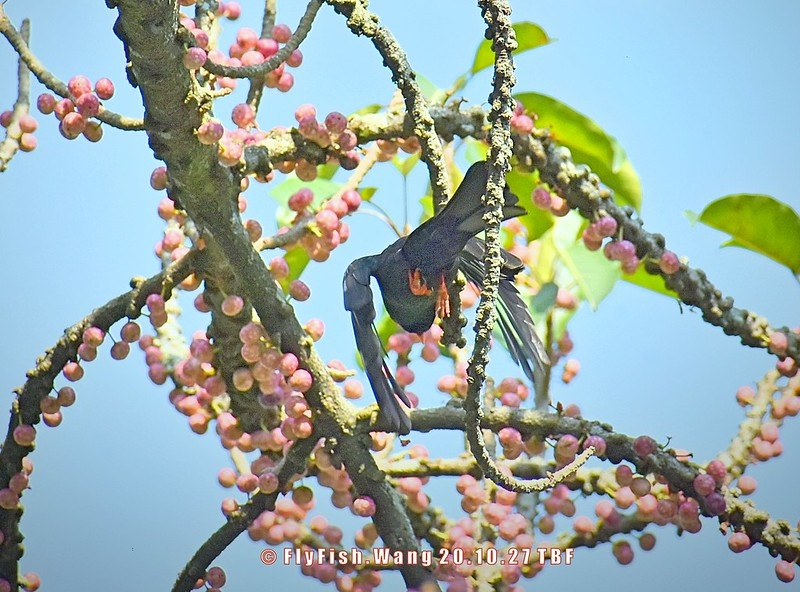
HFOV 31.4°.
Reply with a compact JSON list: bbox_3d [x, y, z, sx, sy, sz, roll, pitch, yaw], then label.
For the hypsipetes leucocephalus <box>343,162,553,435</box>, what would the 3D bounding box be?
[{"bbox_3d":[0.132,0.013,3.282,0.420,0.656,0.314,-16,-36,27],"label":"hypsipetes leucocephalus"}]
